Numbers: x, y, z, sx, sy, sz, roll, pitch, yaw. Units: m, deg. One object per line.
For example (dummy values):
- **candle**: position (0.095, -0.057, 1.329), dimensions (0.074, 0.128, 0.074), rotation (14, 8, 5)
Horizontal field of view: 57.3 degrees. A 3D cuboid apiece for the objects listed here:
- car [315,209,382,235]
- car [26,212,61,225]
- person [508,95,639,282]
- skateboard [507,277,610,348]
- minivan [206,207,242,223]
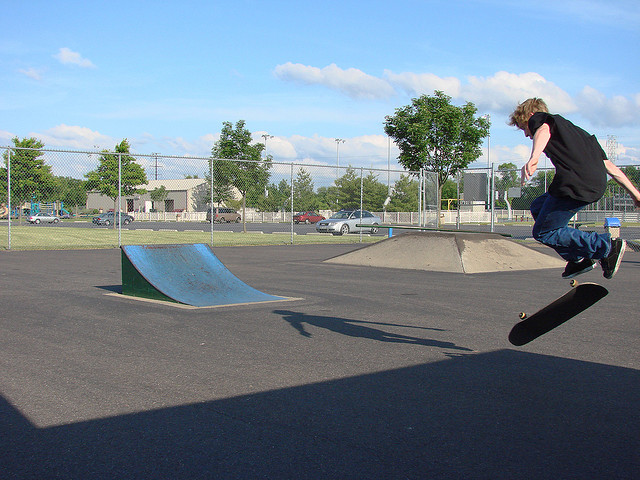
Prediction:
- **car**: position (1.996, -1.203, 34.157), dimensions (3.758, 1.180, 1.669), rotation (3, -2, -33)
- **car**: position (-25.551, -2.026, 54.071), dimensions (2.696, 0.927, 1.195), rotation (-4, 7, -34)
- **person**: position (2.434, -0.463, 5.685), dimensions (1.375, 1.795, 0.699), rotation (-2, 6, -21)
- **skateboard**: position (2.942, 0.912, 7.241), dimensions (1.230, 0.297, 0.180), rotation (-29, 8, 9)
- **minivan**: position (-10.857, -2.580, 66.921), dimensions (3.911, 1.788, 2.181), rotation (-6, 7, -35)
